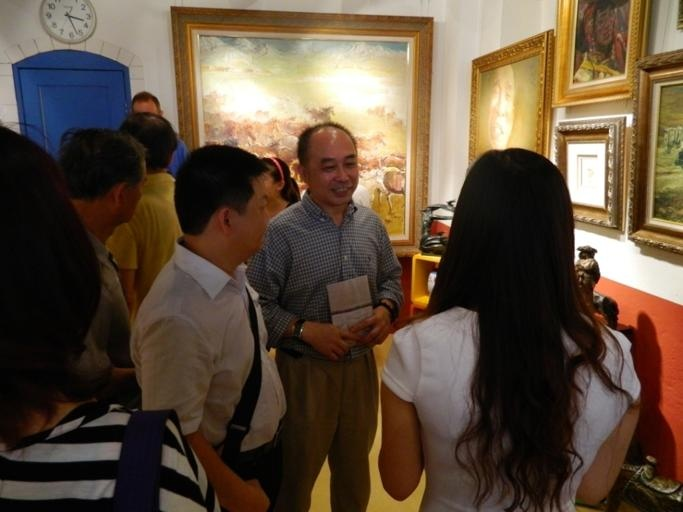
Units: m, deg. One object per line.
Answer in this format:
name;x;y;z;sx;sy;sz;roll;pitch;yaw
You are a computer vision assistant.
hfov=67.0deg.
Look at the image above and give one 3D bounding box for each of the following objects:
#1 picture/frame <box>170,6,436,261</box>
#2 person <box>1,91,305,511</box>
picture/frame;-0.307;-1.070;3.710;1.908;2.263;0.149;0;12;-1
person;-0.670;0.177;2.016;0.645;1.347;1.430;-8;16;-29
